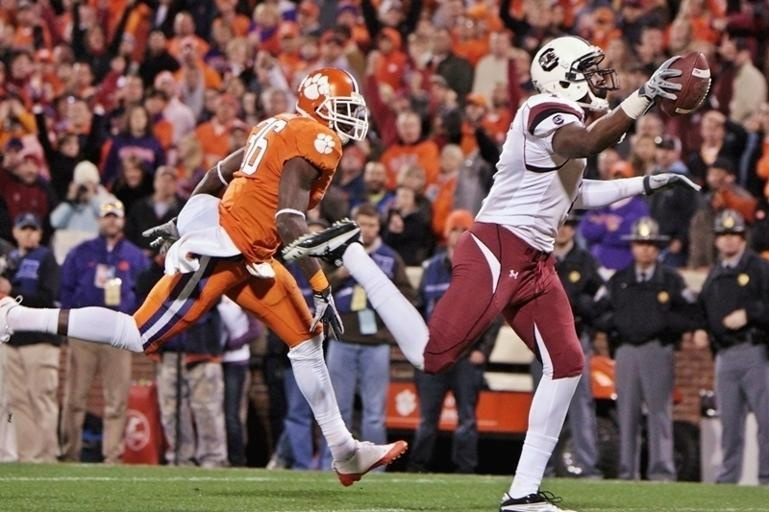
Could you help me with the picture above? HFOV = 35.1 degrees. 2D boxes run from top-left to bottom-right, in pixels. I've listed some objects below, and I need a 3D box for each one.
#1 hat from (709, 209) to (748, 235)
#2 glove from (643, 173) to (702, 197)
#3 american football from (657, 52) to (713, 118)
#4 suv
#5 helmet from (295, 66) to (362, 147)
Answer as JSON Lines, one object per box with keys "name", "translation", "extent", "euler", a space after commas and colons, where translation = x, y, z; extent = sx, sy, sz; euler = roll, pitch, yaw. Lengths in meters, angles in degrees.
{"name": "hat", "translation": [3.437, -0.301, 12.051], "extent": [0.230, 0.245, 0.296], "euler": [3, -33, 16]}
{"name": "glove", "translation": [2.331, -0.609, 9.841], "extent": [0.353, 0.125, 0.215], "euler": [-5, -8, 19]}
{"name": "american football", "translation": [2.398, -1.365, 9.607], "extent": [0.306, 0.488, 0.392], "euler": [31, -3, -6]}
{"name": "suv", "translation": [1.709, 1.562, 13.126], "extent": [2.978, 1.650, 1.596], "euler": [-1, -4, 8]}
{"name": "helmet", "translation": [-0.431, -1.322, 10.150], "extent": [0.683, 0.559, 0.483], "euler": [8, 14, 17]}
